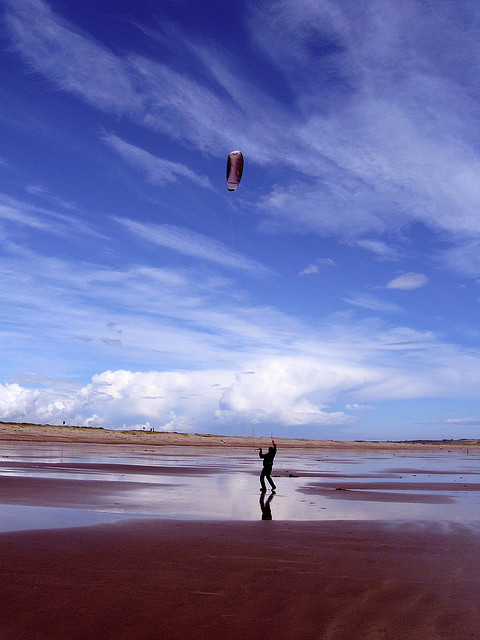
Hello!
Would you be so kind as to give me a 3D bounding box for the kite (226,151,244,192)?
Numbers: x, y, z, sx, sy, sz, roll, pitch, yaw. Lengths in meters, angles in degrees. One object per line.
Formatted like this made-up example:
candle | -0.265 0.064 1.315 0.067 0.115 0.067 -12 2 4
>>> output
kite | -0.296 -7.853 26.858 0.790 2.553 2.189 4 -7 -3
